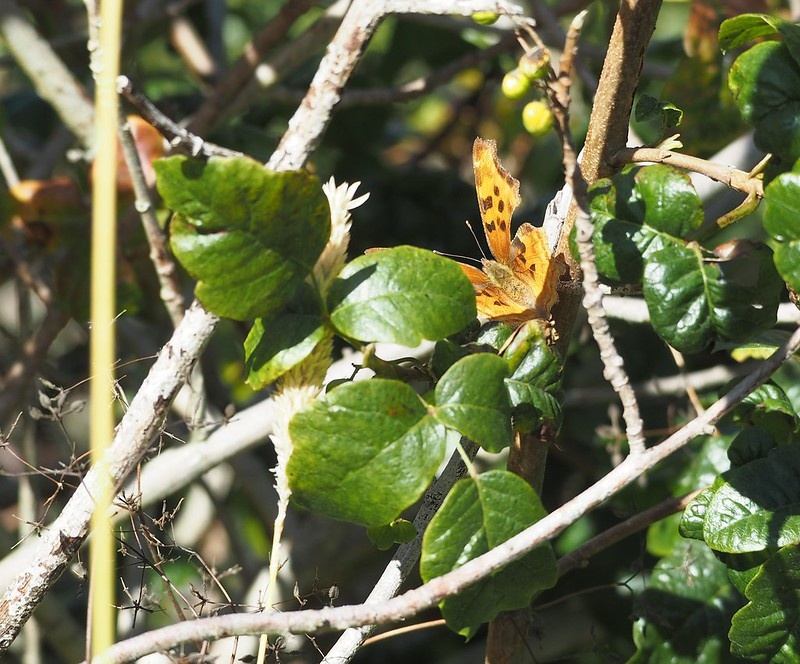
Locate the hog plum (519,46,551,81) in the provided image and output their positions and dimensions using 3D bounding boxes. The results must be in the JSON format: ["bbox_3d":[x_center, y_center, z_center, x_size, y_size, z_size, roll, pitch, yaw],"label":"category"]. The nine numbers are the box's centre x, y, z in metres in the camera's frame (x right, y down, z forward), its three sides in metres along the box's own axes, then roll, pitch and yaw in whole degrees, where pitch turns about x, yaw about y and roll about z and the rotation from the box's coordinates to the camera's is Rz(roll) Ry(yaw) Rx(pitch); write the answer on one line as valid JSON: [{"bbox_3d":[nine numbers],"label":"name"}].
[{"bbox_3d":[0.123,-0.245,1.104,0.028,0.029,0.036,9,35,3],"label":"hog plum"}]

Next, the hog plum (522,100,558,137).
[{"bbox_3d":[0.132,-0.201,1.138,0.028,0.038,0.030,1,6,7],"label":"hog plum"}]

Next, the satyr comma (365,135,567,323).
[{"bbox_3d":[0.112,-0.093,1.185,0.099,0.155,0.098,7,34,2],"label":"satyr comma"}]

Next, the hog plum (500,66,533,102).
[{"bbox_3d":[0.113,-0.237,1.152,0.026,0.028,0.028,18,36,12],"label":"hog plum"}]
